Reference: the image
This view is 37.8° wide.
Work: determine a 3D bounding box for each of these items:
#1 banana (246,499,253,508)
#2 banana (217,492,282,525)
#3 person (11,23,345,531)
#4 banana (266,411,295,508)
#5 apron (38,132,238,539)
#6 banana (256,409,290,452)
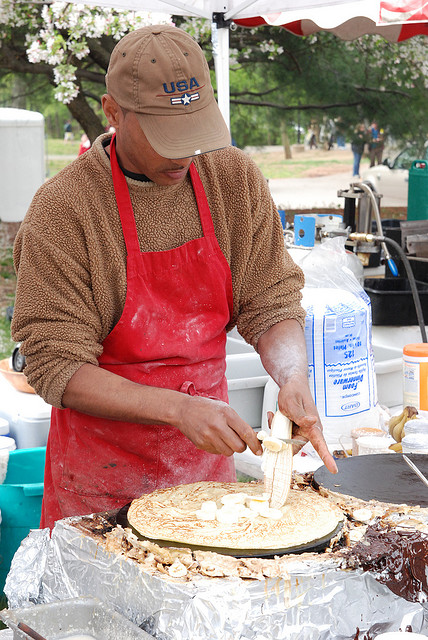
[{"bbox_3d":[0.079,0.414,1.408,0.017,0.010,0.015,-2,-3,-2],"label":"banana"},{"bbox_3d":[0.063,0.412,1.393,0.139,0.024,0.158,0,7,-12],"label":"banana"},{"bbox_3d":[-0.062,-0.011,1.648,0.886,1.446,0.701,0,9,-17],"label":"person"},{"bbox_3d":[0.155,0.326,1.467,0.049,0.182,0.059,10,1,-42],"label":"banana"},{"bbox_3d":[-0.203,0.087,1.864,0.614,1.265,0.428,-11,38,-21],"label":"apron"},{"bbox_3d":[0.141,0.268,1.465,0.073,0.069,0.029,23,-14,27],"label":"banana"}]
